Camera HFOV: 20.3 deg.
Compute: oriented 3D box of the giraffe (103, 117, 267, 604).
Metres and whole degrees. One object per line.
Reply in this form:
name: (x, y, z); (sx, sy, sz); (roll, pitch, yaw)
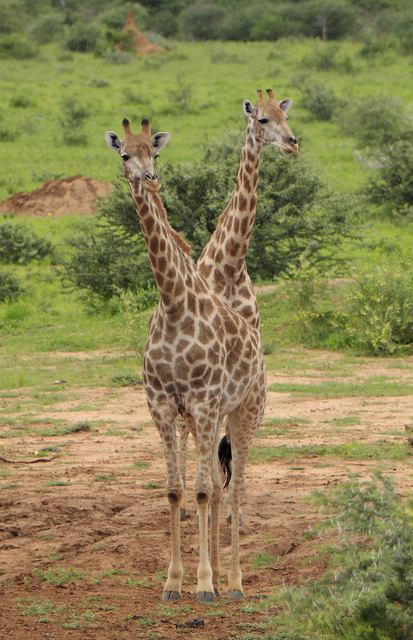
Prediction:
giraffe: (-0.071, 0.330, 9.861); (1.259, 4.041, 1.197); (-9, 14, -34)
